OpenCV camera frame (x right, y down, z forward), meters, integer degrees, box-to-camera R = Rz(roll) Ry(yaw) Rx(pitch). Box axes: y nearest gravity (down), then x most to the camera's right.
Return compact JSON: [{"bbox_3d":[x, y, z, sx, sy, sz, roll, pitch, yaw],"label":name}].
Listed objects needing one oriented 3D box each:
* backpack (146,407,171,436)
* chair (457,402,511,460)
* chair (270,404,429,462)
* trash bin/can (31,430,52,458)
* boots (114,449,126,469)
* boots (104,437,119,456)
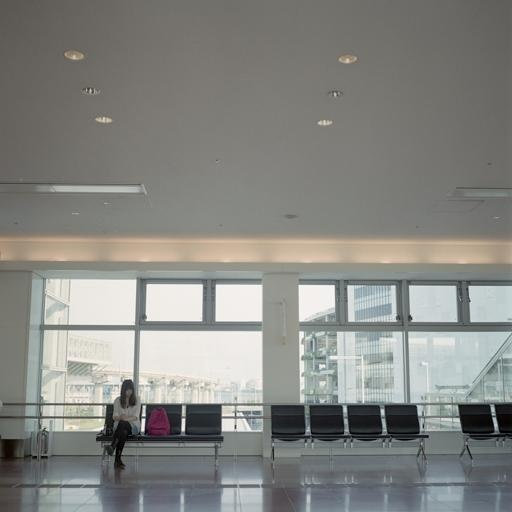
[{"bbox_3d":[-1.623,2.727,8.772,0.388,0.392,0.802,3,-13,-11],"label":"backpack"},{"bbox_3d":[4.126,3.113,9.762,0.812,1.052,1.017,3,-20,-1],"label":"chair"},{"bbox_3d":[1.602,2.954,9.202,2.663,0.736,1.069,0,-13,0],"label":"chair"},{"bbox_3d":[-3.916,3.362,9.614,0.348,0.513,0.765,6,-14,-22],"label":"trash bin/can"},{"bbox_3d":[-2.187,3.203,8.488,0.168,0.318,0.333,4,-13,-13],"label":"boots"},{"bbox_3d":[-2.326,3.075,8.475,0.163,0.157,0.436,12,-39,-1],"label":"boots"}]
